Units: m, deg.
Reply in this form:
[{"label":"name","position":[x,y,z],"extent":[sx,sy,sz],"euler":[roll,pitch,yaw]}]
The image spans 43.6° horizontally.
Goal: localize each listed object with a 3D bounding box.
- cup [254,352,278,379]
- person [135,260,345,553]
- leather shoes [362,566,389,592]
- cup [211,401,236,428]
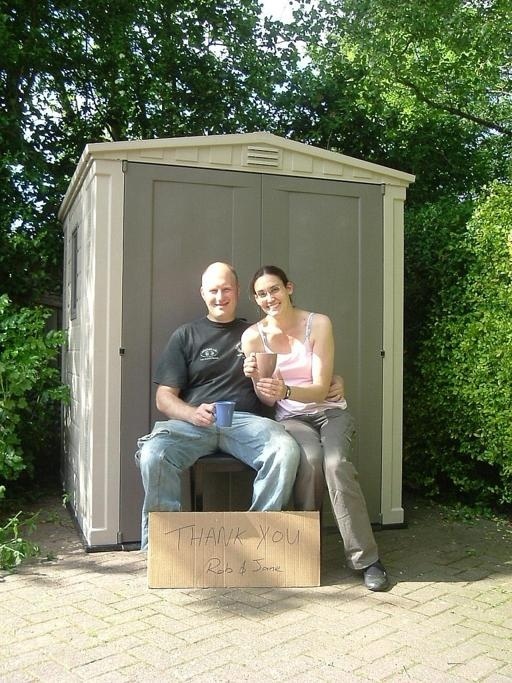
[{"label":"cup","position":[0.048,0.120,3.102],"extent":[0.095,0.123,0.111],"euler":[0,-3,2]},{"label":"person","position":[-0.232,0.287,3.399],"extent":[0.783,1.494,0.762],"euler":[1,-3,-10]},{"label":"leather shoes","position":[0.592,1.129,3.076],"extent":[0.147,0.111,0.124],"euler":[1,-3,-11]},{"label":"cup","position":[-0.152,0.349,3.042],"extent":[0.085,0.126,0.152],"euler":[1,-3,0]}]
